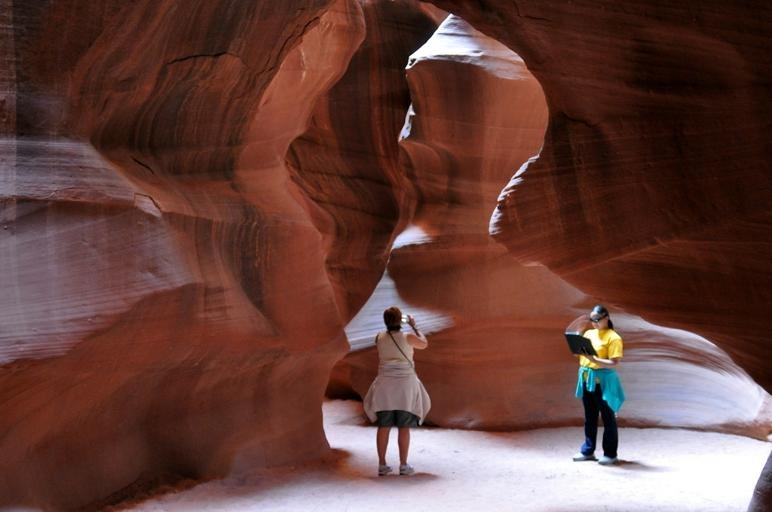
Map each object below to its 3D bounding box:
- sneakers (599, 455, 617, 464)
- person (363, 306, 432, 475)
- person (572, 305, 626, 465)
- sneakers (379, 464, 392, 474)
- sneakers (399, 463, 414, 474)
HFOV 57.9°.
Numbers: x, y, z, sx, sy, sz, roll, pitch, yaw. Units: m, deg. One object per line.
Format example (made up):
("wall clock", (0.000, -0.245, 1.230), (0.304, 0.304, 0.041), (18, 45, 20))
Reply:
("sneakers", (2.170, 1.999, 6.857), (0.196, 0.070, 0.056), (13, 42, -19))
("person", (0.103, 1.265, 6.459), (0.577, 1.575, 0.408), (-1, -3, 5))
("person", (2.078, 1.281, 6.865), (0.476, 1.570, 0.560), (0, -4, -15))
("sneakers", (-0.019, 2.006, 6.516), (0.067, 0.078, 0.132), (7, 13, 40))
("sneakers", (0.199, 2.001, 6.578), (0.074, 0.088, 0.154), (3, 6, 42))
